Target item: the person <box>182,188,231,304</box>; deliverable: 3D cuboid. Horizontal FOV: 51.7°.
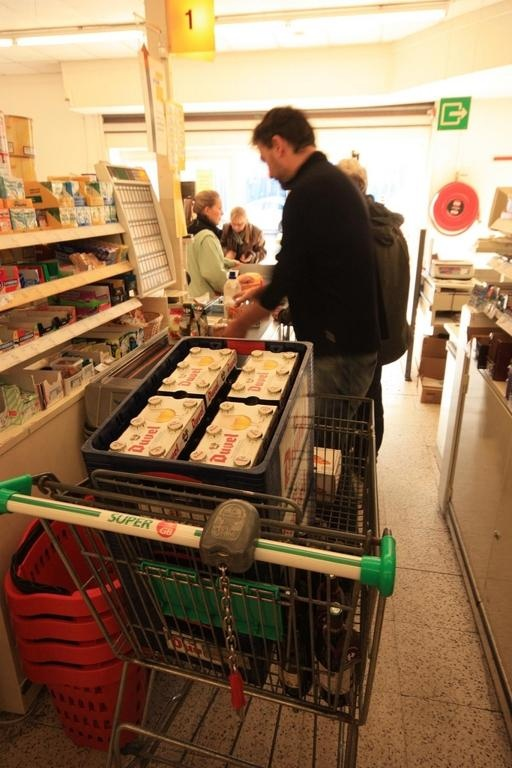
[{"bbox_3d":[-0.467,-1.258,4.900,0.403,0.918,0.845,-4,24,-4],"label":"person"}]
